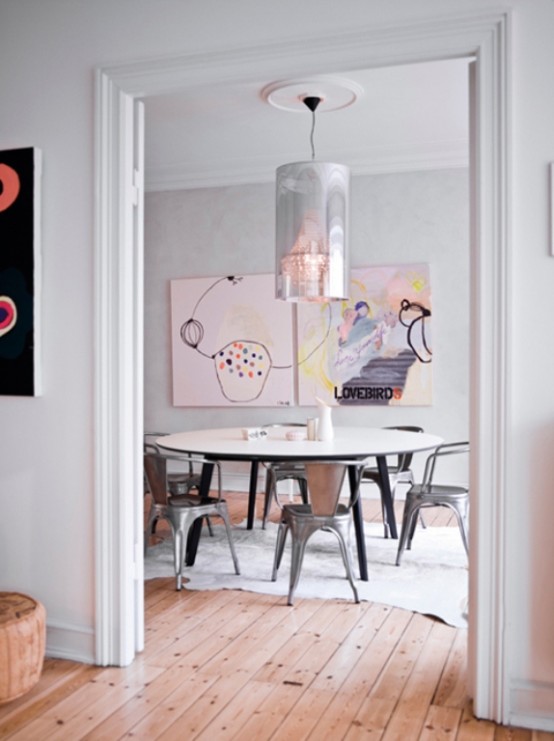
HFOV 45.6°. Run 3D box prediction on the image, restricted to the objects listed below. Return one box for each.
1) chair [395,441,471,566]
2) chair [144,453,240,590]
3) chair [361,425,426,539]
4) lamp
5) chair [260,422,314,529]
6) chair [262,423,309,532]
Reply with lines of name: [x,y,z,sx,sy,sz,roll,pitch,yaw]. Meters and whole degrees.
chair: [0.876,0.723,3.584,0.500,0.589,0.488,3,-4,-25]
chair: [-0.465,0.745,3.465,0.479,0.641,0.450,1,-1,-23]
chair: [0.700,0.745,4.372,0.579,0.705,0.531,2,-11,-12]
lamp: [0.185,-0.729,3.472,0.384,0.689,0.242,0,0,0]
chair: [0.047,0.788,4.700,0.423,0.592,0.383,-3,-8,1]
chair: [0.082,0.769,4.591,0.305,0.534,0.345,-10,-6,28]
